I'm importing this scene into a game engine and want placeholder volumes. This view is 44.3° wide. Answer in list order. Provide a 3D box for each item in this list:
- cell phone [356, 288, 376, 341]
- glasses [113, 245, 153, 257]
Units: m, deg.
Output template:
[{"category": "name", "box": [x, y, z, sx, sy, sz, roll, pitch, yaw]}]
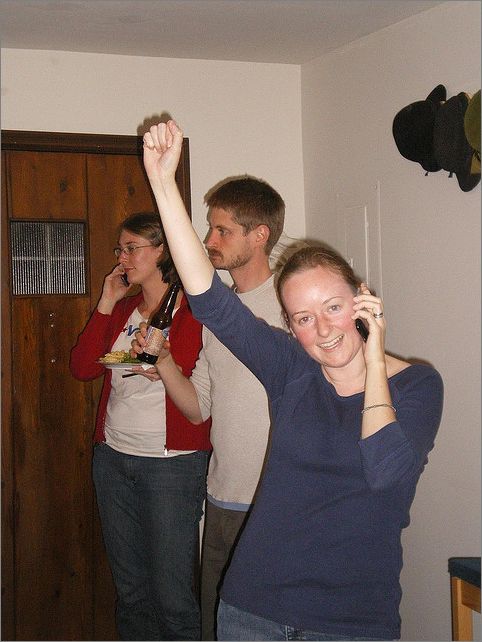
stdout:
[{"category": "cell phone", "box": [0.228, -0.008, 1.077, 0.020, 0.085, 0.081, -7, 13, -7]}, {"category": "glasses", "box": [-0.441, -0.281, 2.335, 0.079, 0.026, 0.084, -7, 1, 42]}]
